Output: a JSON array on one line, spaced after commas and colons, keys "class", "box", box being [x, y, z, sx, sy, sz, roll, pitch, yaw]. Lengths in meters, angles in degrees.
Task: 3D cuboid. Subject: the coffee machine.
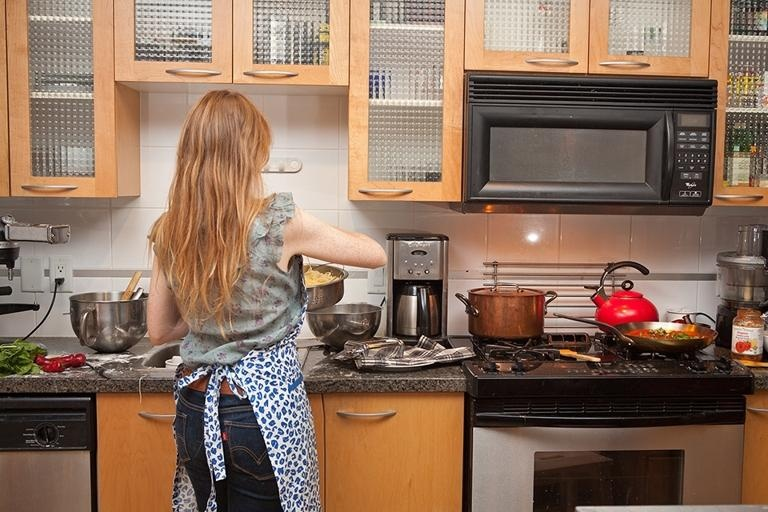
[{"class": "coffee machine", "box": [0.144, 0.132, 3.326, 0.263, 0.460, 0.102, 0, 4, -1]}]

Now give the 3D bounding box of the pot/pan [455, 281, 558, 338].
[{"class": "pot/pan", "box": [0.515, 0.243, 3.317, 0.424, 0.166, 0.255, 0, 0, -8]}]

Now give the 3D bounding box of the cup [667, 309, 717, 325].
[{"class": "cup", "box": [1.447, 0.285, 3.558, 0.209, 0.069, 0.117, 1, -1, 11]}]

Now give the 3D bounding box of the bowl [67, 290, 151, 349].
[{"class": "bowl", "box": [-1.186, 0.304, 3.217, 0.343, 0.203, 0.385, -2, 1, -14]}]

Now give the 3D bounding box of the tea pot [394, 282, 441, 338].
[{"class": "tea pot", "box": [0.145, 0.245, 3.300, 0.203, 0.194, 0.246, 0, 2, -9]}]

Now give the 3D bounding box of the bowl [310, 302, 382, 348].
[{"class": "bowl", "box": [-0.153, 0.304, 3.303, 0.332, 0.151, 0.318, -2, 6, 0]}]

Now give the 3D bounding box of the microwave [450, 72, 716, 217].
[{"class": "microwave", "box": [0.840, -0.485, 3.166, 1.092, 0.516, 0.604, 1, -4, -1]}]

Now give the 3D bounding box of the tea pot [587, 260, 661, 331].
[{"class": "tea pot", "box": [1.002, 0.174, 3.365, 0.366, 0.299, 0.251, 0, -5, 5]}]

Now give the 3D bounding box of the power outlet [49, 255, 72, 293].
[{"class": "power outlet", "box": [-1.509, 0.084, 3.519, 0.106, 0.172, 0.034, 0, 4, 9]}]
